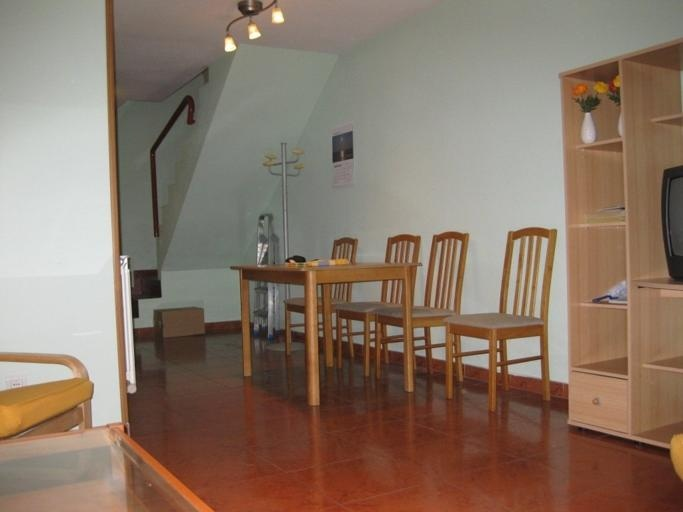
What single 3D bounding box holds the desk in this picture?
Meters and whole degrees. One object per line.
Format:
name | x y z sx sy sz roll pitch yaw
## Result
desk | -0.086 0.288 4.258 0.963 0.976 1.268 0 -2 -32
